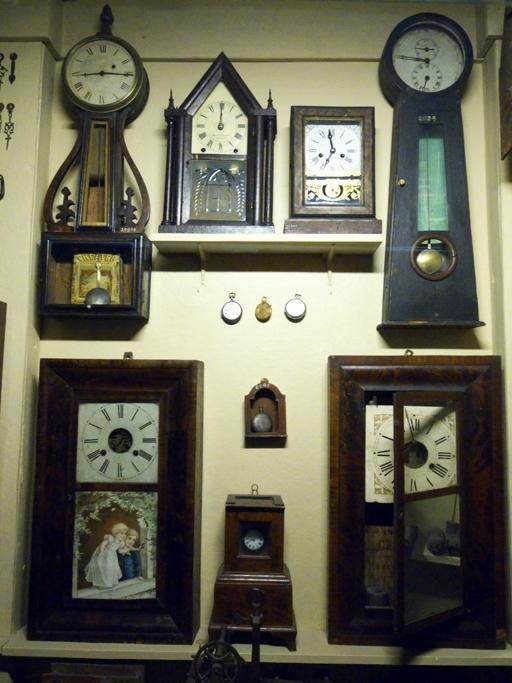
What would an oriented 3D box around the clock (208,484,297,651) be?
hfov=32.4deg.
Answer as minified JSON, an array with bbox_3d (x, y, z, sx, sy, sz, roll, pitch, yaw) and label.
[{"bbox_3d":[-0.006,0.832,3.381,0.426,0.710,0.473,0,-3,1],"label":"clock"}]

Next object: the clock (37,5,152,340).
[{"bbox_3d":[-0.597,-0.664,3.371,0.422,1.291,0.256,1,-3,-9],"label":"clock"}]

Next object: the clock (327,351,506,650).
[{"bbox_3d":[0.575,0.559,3.086,0.626,1.029,0.294,1,-3,-1],"label":"clock"}]
